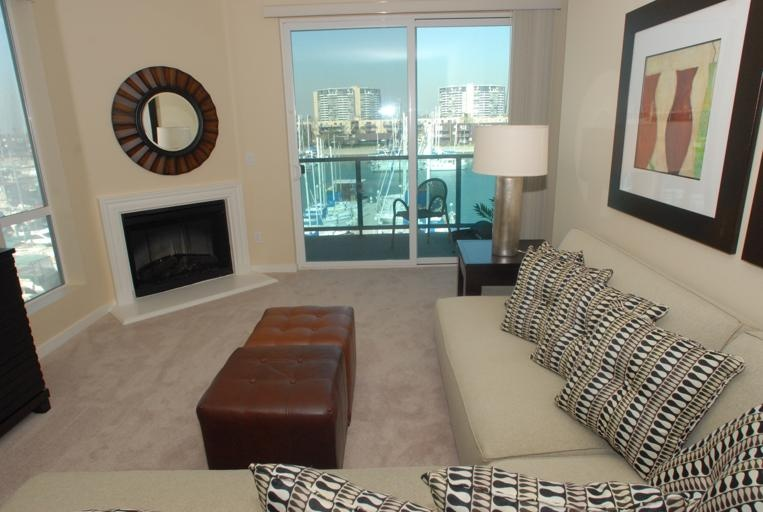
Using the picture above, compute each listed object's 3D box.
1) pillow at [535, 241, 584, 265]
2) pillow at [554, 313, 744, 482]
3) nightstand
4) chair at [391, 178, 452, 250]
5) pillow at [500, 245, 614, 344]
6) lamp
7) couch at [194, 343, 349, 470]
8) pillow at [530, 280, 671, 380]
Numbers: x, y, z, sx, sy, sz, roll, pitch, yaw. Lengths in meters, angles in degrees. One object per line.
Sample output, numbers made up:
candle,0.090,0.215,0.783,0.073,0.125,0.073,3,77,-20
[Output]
pillow,1.159,-0.015,3.309,0.182,0.062,0.185,19,13,33
pillow,1.265,0.692,2.415,0.203,0.647,0.679,30,4,-30
nightstand,0.895,0.003,4.021,0.520,0.505,0.512,1,25,3
chair,0.446,-0.478,5.283,0.480,0.772,0.458,-3,30,-6
pillow,1.069,0.269,3.193,0.153,0.544,0.554,26,-5,-29
lamp,0.944,-0.481,3.844,0.524,0.966,0.249,0,18,13
couch,-0.560,0.710,2.836,0.628,0.492,0.619,1,21,4
pillow,1.169,0.433,2.835,0.157,0.511,0.525,33,-2,-19
